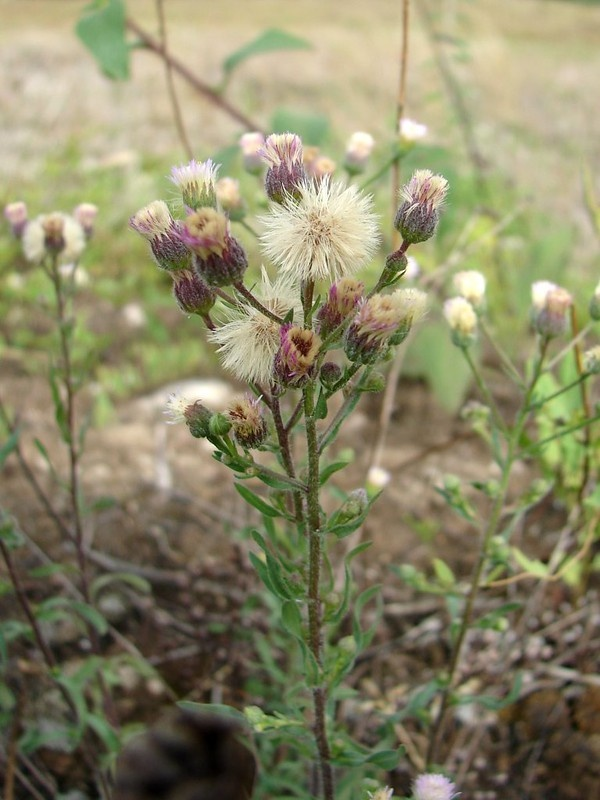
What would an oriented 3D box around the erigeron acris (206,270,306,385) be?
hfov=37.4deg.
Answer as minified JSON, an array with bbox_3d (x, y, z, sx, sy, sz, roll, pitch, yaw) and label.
[{"bbox_3d":[-0.048,-0.083,1.081,0.146,0.118,0.069,-2,-6,17],"label":"erigeron acris"}]

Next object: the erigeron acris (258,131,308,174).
[{"bbox_3d":[-0.019,-0.283,1.012,0.052,0.046,0.043,-1,59,1],"label":"erigeron acris"}]

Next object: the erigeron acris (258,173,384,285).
[{"bbox_3d":[0.023,-0.188,0.993,0.144,0.071,0.120,-9,56,0],"label":"erigeron acris"}]

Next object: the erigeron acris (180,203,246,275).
[{"bbox_3d":[-0.091,-0.172,0.944,0.055,0.077,0.037,-2,42,16],"label":"erigeron acris"}]
